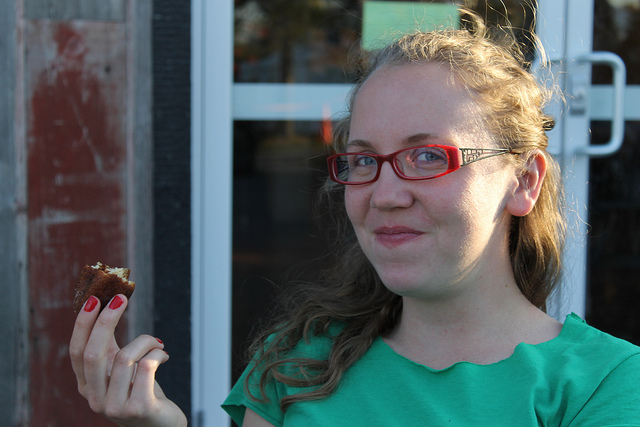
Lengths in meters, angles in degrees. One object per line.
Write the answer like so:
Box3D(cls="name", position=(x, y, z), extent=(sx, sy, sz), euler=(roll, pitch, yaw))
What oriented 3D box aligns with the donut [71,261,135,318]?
Box3D(cls="donut", position=(-0.890, 0.297, 4.179), extent=(0.293, 0.149, 0.236), euler=(-6, 2, -11))
